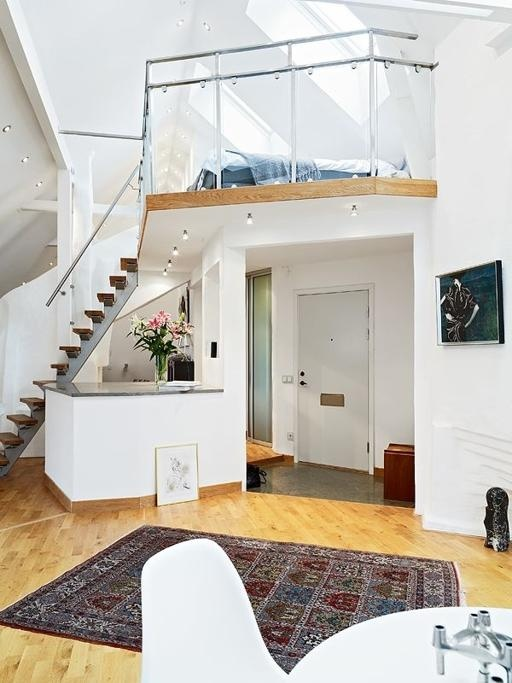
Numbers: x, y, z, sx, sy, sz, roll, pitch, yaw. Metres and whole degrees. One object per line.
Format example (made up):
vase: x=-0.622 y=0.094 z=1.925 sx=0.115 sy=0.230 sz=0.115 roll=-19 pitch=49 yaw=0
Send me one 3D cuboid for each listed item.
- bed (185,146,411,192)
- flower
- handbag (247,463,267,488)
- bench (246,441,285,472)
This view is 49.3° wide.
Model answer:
bed: x=0.243 y=-1.402 z=4.584 sx=1.760 sy=0.344 sz=0.567 roll=2 pitch=-1 yaw=13
flower: x=-0.952 y=0.058 z=5.400 sx=0.515 sy=0.723 sz=0.683 roll=2 pitch=-2 yaw=-16
handbag: x=-0.005 y=1.361 z=5.585 sx=0.182 sy=0.203 sz=0.153 roll=-1 pitch=1 yaw=-11
bench: x=0.107 y=1.410 z=7.000 sx=0.457 sy=0.100 sz=1.371 roll=2 pitch=-1 yaw=-1
